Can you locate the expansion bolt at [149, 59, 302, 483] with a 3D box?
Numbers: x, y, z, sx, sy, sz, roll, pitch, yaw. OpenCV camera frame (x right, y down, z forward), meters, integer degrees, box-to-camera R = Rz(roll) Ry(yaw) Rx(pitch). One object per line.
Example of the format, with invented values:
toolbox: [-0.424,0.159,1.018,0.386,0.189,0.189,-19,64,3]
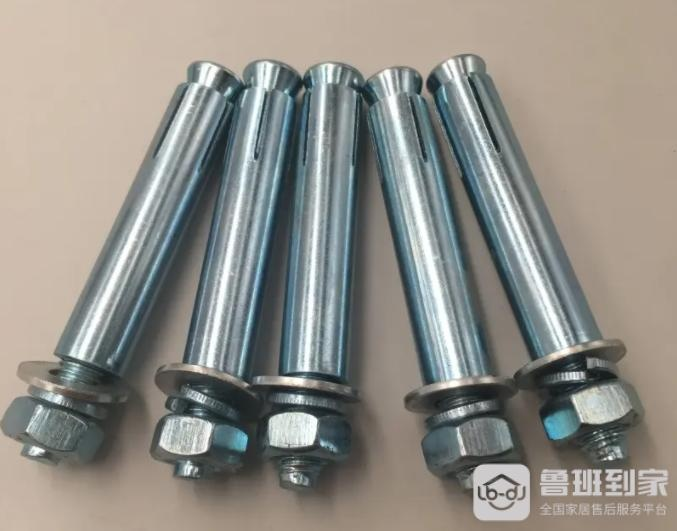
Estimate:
expansion bolt: [-0.193,-0.024,1.206,0.179,0.748,0.291,9,-35,-13]

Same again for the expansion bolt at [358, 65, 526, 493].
expansion bolt: [0.077,-0.006,1.178,0.227,0.690,0.211,-7,-27,-7]

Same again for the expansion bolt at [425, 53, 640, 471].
expansion bolt: [0.230,-0.040,1.248,0.229,0.741,0.205,-13,-26,-9]

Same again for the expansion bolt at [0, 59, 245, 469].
expansion bolt: [-0.317,-0.051,1.282,0.221,0.822,0.209,-11,-36,33]
